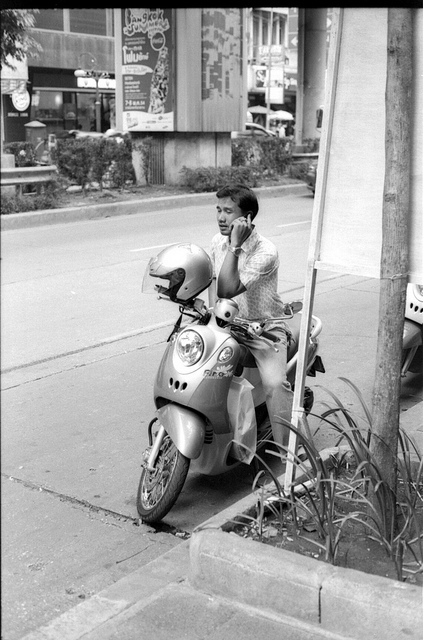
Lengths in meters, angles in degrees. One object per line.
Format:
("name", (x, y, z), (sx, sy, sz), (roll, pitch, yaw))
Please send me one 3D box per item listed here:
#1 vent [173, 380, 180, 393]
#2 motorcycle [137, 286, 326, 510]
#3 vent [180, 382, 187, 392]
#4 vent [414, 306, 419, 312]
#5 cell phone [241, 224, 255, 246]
("vent", (-0.182, 0.339, 2.965), (0.026, 0.055, 0.009), (13, -1, 44))
("motorcycle", (0.118, 0.362, 3.488), (0.610, 1.194, 1.688), (13, 15, 32))
("vent", (-0.145, 0.340, 2.931), (0.024, 0.040, 0.010), (2, -13, 40))
("vent", (1.759, -0.107, 4.892), (0.008, 0.040, 0.036), (3, 3, -17))
("cell phone", (0.201, -0.497, 3.262), (0.042, 0.083, 0.029), (25, -1, -29))
